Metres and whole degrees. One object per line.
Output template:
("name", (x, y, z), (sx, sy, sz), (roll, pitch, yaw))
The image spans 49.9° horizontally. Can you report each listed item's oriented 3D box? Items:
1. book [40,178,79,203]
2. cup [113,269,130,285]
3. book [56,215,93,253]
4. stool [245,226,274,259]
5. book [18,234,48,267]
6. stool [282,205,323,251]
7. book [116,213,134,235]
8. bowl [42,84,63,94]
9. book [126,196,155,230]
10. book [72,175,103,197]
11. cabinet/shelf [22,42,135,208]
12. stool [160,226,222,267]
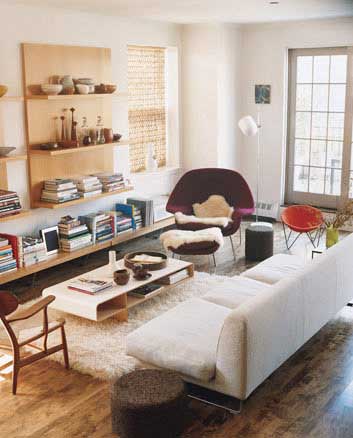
("book", (-1.345, -0.339, 4.264), (0.266, 0.230, 0.381), (8, 13, 32))
("cup", (-0.449, 0.462, 3.106), (0.117, 0.087, 0.119), (1, 13, 0))
("book", (-1.185, 0.148, 4.441), (0.366, 0.339, 0.488), (6, 13, 29))
("stool", (0.999, 0.281, 4.805), (0.393, 0.409, 0.379), (-1, 7, -2))
("book", (-1.487, 0.324, 3.909), (0.256, 0.161, 0.342), (5, 10, 29))
("stool", (1.573, 0.110, 4.770), (0.526, 0.449, 0.511), (-1, 14, -8))
("book", (-0.678, 0.055, 4.952), (0.202, 0.247, 0.089), (-1, 7, -44))
("bowl", (-1.318, -1.343, 3.962), (0.147, 0.072, 0.142), (-1, 14, 0))
("book", (-0.452, -0.140, 5.267), (0.484, 0.452, 0.358), (10, 15, 43))
("book", (-1.071, -0.409, 4.522), (0.251, 0.198, 0.336), (6, 15, 34))
("cabinet/shelf", (-1.169, -1.113, 4.393), (0.343, 1.848, 1.265), (6, 15, 32))
("stool", (0.210, 0.339, 4.380), (0.695, 0.392, 0.539), (-5, 2, 1))
